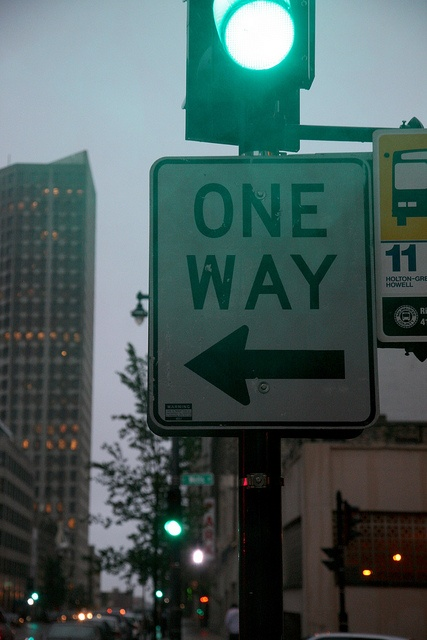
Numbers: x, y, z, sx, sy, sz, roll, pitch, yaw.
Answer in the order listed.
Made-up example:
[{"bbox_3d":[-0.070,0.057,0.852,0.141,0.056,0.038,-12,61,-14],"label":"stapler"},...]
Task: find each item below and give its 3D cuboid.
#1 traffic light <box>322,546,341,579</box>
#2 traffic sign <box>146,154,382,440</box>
[{"bbox_3d":[2.342,4.798,20.259,0.405,0.449,0.641,9,-14,-12],"label":"traffic light"},{"bbox_3d":[0.148,-0.042,2.988,0.571,1.069,0.095,0,-7,0],"label":"traffic sign"}]
